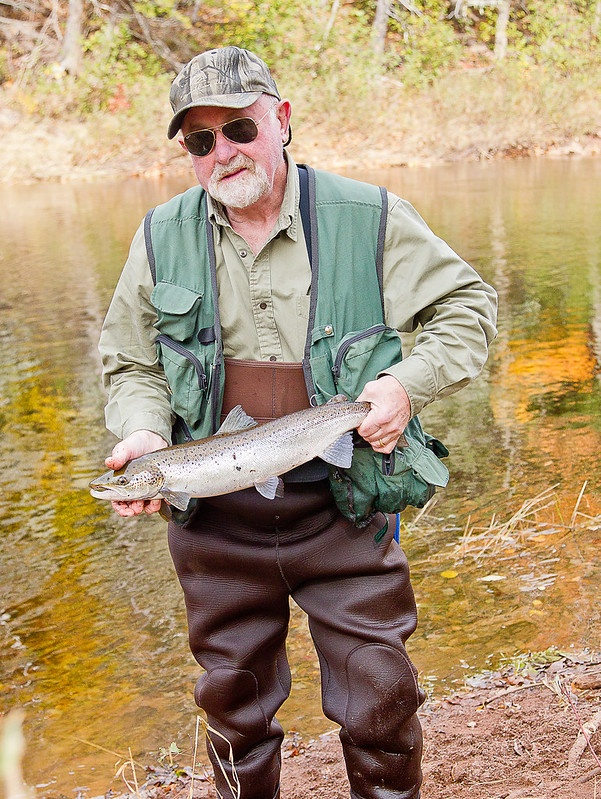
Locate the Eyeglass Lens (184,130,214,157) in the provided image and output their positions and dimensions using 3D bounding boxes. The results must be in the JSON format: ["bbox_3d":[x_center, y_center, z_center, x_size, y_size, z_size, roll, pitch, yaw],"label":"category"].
[{"bbox_3d":[-0.271,-0.697,2.277,0.081,0.032,0.074,-4,22,25],"label":"Eyeglass Lens"}]

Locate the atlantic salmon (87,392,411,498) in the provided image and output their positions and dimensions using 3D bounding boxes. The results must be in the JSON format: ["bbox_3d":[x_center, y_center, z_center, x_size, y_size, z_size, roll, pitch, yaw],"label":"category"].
[{"bbox_3d":[-0.146,0.149,2.167,0.843,0.251,0.154,-14,14,-27],"label":"atlantic salmon"}]

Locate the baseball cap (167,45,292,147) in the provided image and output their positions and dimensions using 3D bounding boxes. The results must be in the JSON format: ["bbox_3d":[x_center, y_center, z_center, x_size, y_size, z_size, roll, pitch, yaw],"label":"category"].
[{"bbox_3d":[-0.213,-0.859,2.287,0.303,0.186,0.383,-8,15,20],"label":"baseball cap"}]
